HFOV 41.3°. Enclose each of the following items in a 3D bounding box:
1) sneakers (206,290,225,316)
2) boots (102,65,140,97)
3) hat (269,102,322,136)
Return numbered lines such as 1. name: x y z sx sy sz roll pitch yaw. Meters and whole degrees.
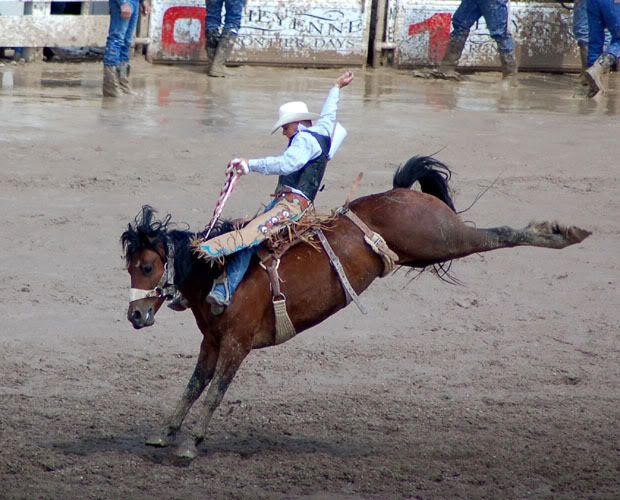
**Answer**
1. sneakers: -0.566 0.323 5.004 0.101 0.153 0.055 0 45 42
2. boots: -2.758 -2.445 11.947 0.548 0.503 0.590 5 14 22
3. hat: -0.123 -0.885 5.386 0.306 0.118 0.238 -20 5 -21
